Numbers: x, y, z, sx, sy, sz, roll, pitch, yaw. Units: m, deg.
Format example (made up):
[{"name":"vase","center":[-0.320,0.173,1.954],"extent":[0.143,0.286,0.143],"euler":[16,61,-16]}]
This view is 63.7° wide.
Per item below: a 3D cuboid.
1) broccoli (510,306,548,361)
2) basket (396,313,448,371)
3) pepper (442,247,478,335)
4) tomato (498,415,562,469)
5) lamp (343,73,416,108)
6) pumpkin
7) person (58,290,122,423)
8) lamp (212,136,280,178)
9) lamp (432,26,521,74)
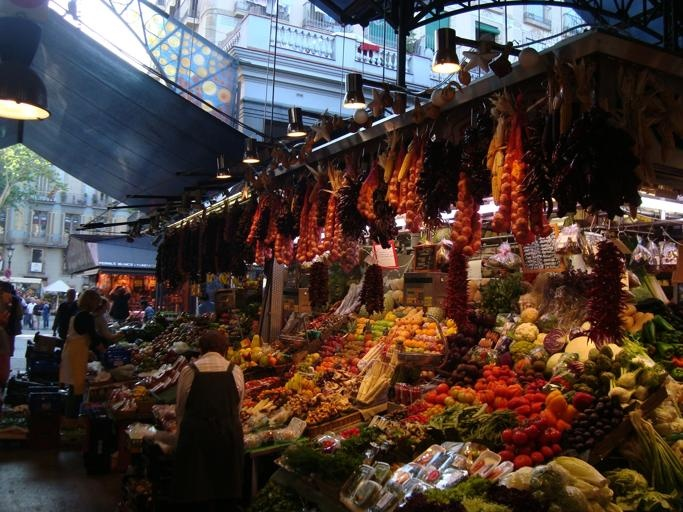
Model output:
[{"name":"broccoli","center":[1.746,0.714,5.150],"extent":[0.257,0.453,0.236],"euler":[3,3,26]},{"name":"basket","center":[0.754,0.830,5.462],"extent":[0.447,0.197,0.606],"euler":[-12,35,24]},{"name":"pepper","center":[0.892,0.245,4.159],"extent":[0.153,0.594,0.208],"euler":[-1,3,-24]},{"name":"tomato","center":[1.371,1.336,3.982],"extent":[0.415,0.305,0.193],"euler":[1,-3,20]},{"name":"lamp","center":[0.361,-1.419,4.873],"extent":[0.700,0.280,0.175],"euler":[3,-3,-18]},{"name":"pumpkin","center":[1.264,1.197,4.425],"extent":[1.343,0.333,0.564],"euler":[1,-2,25]},{"name":"person","center":[-3.713,1.346,8.019],"extent":[0.683,1.988,0.689],"euler":[0,-1,20]},{"name":"lamp","center":[-1.061,-1.177,6.543],"extent":[0.538,0.536,0.623],"euler":[-2,1,-41]},{"name":"lamp","center":[1.002,-1.485,4.053],"extent":[0.619,0.322,0.271],"euler":[9,-13,3]}]
